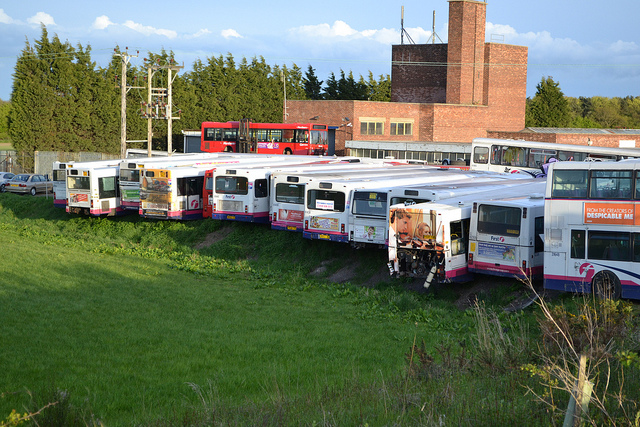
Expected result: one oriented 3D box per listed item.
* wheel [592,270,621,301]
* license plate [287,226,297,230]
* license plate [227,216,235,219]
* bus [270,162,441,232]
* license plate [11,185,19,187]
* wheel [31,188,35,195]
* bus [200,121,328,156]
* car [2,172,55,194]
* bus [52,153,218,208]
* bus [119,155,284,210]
[{"bbox_3d":[10.544,2.609,27.152,1.021,1.129,0.352,0,-3,17],"label":"wheel"},{"bbox_3d":[-1.433,0.713,36.951,0.568,0.160,0.101,5,5,41],"label":"license plate"},{"bbox_3d":[-4.800,0.213,39.439,0.413,0.149,0.030,3,4,17],"label":"license plate"},{"bbox_3d":[1.848,-1.144,40.076,9.968,2.780,3.158,-10,14,-42],"label":"bus"},{"bbox_3d":[-23.430,-2.088,56.620,0.698,0.159,0.117,4,5,32],"label":"license plate"},{"bbox_3d":[-22.131,-1.667,56.758,0.144,0.491,0.467,1,2,17],"label":"wheel"},{"bbox_3d":[-5.268,-6.749,66.600,13.404,2.882,5.660,5,6,42],"label":"bus"},{"bbox_3d":[-22.680,-2.248,57.184,3.150,1.407,1.726,1,4,-12],"label":"car"},{"bbox_3d":[-11.344,-1.401,48.758,2.779,3.094,11.485,-1,2,30],"label":"bus"},{"bbox_3d":[-7.203,-1.527,44.752,9.859,2.778,3.342,-2,9,-11],"label":"bus"}]
